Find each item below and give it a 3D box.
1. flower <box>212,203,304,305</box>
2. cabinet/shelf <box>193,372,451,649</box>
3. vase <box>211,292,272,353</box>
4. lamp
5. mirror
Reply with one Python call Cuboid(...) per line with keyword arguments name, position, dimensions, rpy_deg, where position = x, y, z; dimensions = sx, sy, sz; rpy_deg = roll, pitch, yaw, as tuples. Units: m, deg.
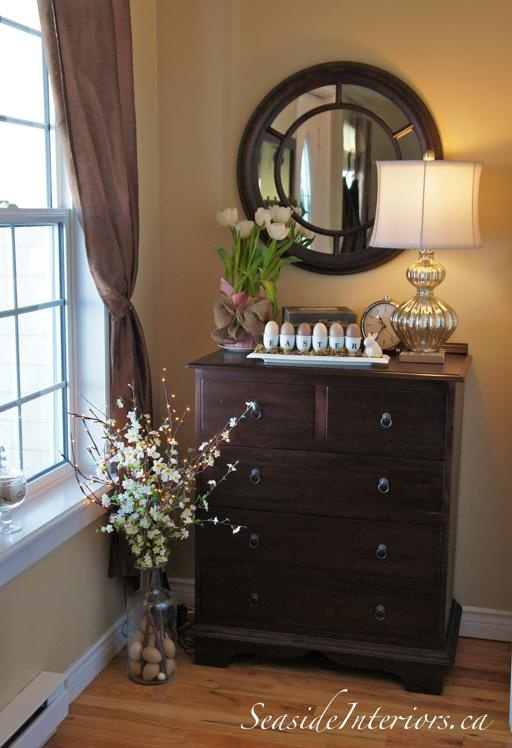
Cuboid(name="flower", position=(-0.060, -0.387, 2.186), dimensions=(0.259, 0.295, 0.221), rpy_deg=(12, -2, -2))
Cuboid(name="cabinet/shelf", position=(0.223, 0.380, 1.911), dimensions=(0.837, 0.845, 0.440), rpy_deg=(1, 8, 10))
Cuboid(name="vase", position=(-0.045, -0.161, 2.100), dimensions=(0.188, 0.184, 0.084), rpy_deg=(10, 28, 17))
Cuboid(name="lamp", position=(0.514, -0.329, 1.967), dimensions=(0.313, 0.583, 0.275), rpy_deg=(2, 5, 14))
Cuboid(name="mirror", position=(0.308, -0.718, 2.181), dimensions=(0.828, 0.795, 0.041), rpy_deg=(2, 8, 8))
